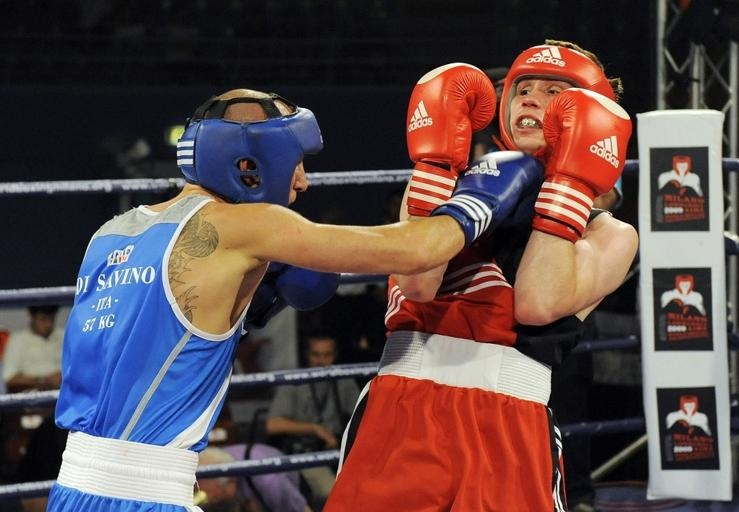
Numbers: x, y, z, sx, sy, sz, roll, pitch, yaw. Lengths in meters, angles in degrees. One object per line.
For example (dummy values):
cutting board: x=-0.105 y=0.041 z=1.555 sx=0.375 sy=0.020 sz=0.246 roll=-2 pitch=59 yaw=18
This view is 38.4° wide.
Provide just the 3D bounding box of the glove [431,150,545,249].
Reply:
glove: x=0.551 y=-0.295 z=4.877 sx=0.333 sy=0.209 sz=0.541 roll=16 pitch=47 yaw=34

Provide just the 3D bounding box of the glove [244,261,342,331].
glove: x=-0.385 y=0.211 z=5.257 sx=0.411 sy=0.399 sz=0.301 roll=15 pitch=-1 yaw=4

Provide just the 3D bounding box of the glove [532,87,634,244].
glove: x=0.938 y=-0.379 z=5.034 sx=0.474 sy=0.690 sz=0.310 roll=17 pitch=-6 yaw=-1

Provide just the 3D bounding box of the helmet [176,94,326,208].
helmet: x=-0.550 y=-0.477 z=4.814 sx=0.605 sy=0.463 sz=0.489 roll=-1 pitch=7 yaw=-8
